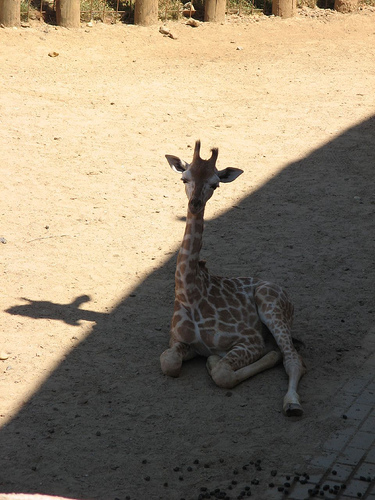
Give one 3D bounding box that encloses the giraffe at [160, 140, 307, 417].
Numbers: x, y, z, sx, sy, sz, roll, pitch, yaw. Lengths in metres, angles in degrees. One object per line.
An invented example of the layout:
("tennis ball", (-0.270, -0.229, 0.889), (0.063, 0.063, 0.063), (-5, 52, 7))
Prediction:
("giraffe", (0.361, 0.083, 6.665), (1.275, 1.781, 1.105), (7, 18, 14))
